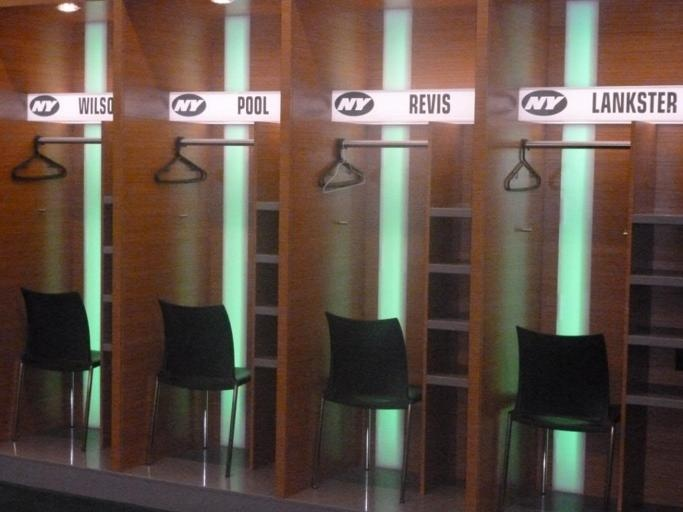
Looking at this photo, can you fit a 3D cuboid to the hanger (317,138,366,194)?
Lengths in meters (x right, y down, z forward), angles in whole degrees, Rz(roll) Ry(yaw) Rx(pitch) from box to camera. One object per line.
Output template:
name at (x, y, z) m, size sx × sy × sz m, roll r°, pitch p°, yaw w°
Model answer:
hanger at (-0.018, -0.615, 4.894) m, size 0.088 × 0.274 × 0.491 m, roll 1°, pitch 5°, yaw 31°

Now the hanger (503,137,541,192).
hanger at (1.104, -0.571, 4.498) m, size 0.463 × 0.413 × 0.064 m, roll -3°, pitch 5°, yaw -38°

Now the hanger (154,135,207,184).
hanger at (-1.139, -0.687, 5.232) m, size 0.126 × 0.350 × 0.434 m, roll 4°, pitch 2°, yaw 31°

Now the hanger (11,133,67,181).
hanger at (-2.350, -0.762, 5.585) m, size 0.248 × 0.335 × 0.478 m, roll 6°, pitch 6°, yaw 41°
